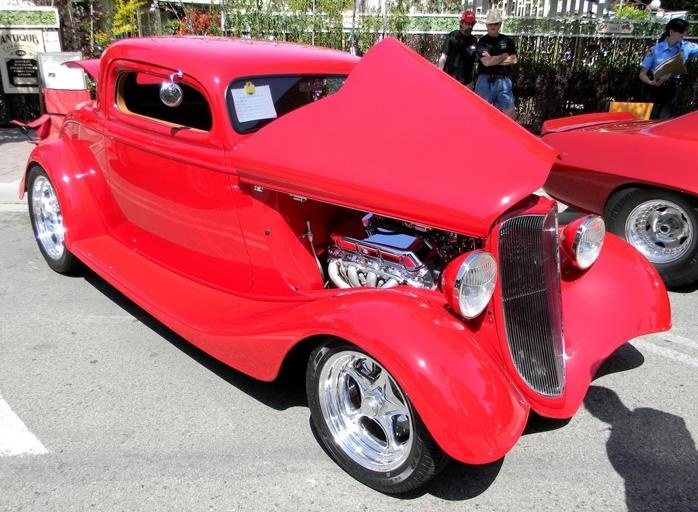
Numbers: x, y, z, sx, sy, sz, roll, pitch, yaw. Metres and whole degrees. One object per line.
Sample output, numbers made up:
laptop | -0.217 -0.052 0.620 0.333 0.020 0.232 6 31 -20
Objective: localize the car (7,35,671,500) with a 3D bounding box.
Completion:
car | -0.877 -0.469 4.262 5.669 2.272 2.462 25 42 37

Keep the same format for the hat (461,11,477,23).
hat | 1.870 -3.772 7.665 0.213 0.214 0.304 6 23 7
